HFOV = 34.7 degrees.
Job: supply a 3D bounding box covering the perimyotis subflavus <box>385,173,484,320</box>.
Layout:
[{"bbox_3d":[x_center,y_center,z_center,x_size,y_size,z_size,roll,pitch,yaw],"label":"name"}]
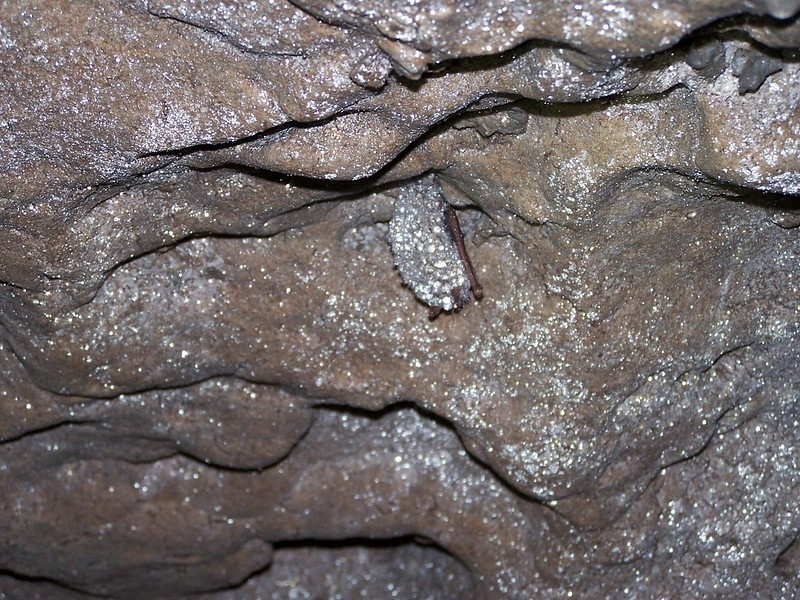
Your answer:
[{"bbox_3d":[0.146,-0.171,4.569,0.270,0.480,0.525,-1,34,10],"label":"perimyotis subflavus"}]
